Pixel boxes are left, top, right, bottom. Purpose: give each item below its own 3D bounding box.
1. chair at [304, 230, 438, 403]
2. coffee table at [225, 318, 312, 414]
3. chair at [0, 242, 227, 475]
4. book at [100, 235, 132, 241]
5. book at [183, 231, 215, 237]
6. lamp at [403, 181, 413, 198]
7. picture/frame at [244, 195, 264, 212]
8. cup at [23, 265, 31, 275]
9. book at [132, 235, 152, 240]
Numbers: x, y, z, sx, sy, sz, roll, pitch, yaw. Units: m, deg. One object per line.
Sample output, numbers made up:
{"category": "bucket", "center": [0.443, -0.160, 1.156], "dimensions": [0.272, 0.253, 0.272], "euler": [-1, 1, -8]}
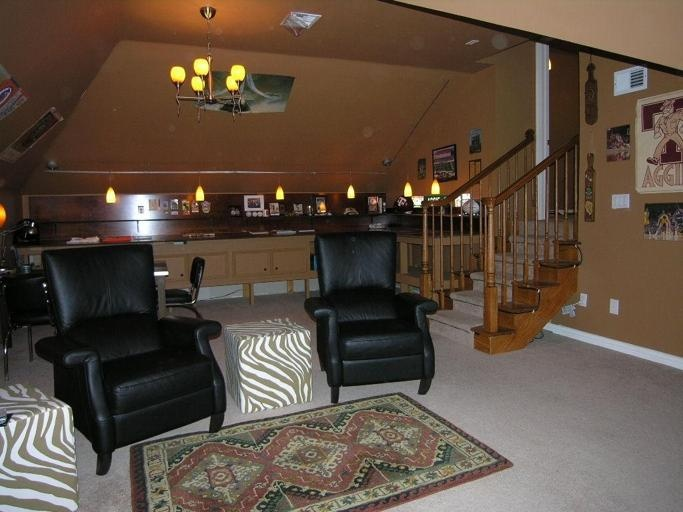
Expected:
{"category": "chair", "center": [0.388, 0.428, 4.318], "dimensions": [1.154, 1.474, 1.327], "euler": [-1, 2, -9]}
{"category": "coffee table", "center": [-0.621, 0.827, 4.000], "dimensions": [0.619, 0.656, 0.633], "euler": [-3, 5, -23]}
{"category": "chair", "center": [-1.525, 0.668, 3.715], "dimensions": [1.358, 1.633, 1.450], "euler": [-5, 8, -42]}
{"category": "book", "center": [-3.246, -0.242, 6.906], "dimensions": [0.394, 0.049, 0.560], "euler": [-6, 11, -23]}
{"category": "book", "center": [-2.167, -0.324, 7.307], "dimensions": [0.473, 0.043, 0.651], "euler": [-4, 10, -16]}
{"category": "lamp", "center": [1.120, -1.084, 7.863], "dimensions": [0.127, 0.261, 0.498], "euler": [0, 10, 10]}
{"category": "picture/frame", "center": [-1.458, -0.869, 7.893], "dimensions": [0.273, 0.230, 0.011], "euler": [-1, 0, -27]}
{"category": "cup", "center": [-3.304, 0.147, 5.019], "dimensions": [0.070, 0.063, 0.072], "euler": [3, 3, 0]}
{"category": "book", "center": [-2.940, -0.258, 7.066], "dimensions": [0.252, 0.031, 0.605], "euler": [-7, 11, -27]}
